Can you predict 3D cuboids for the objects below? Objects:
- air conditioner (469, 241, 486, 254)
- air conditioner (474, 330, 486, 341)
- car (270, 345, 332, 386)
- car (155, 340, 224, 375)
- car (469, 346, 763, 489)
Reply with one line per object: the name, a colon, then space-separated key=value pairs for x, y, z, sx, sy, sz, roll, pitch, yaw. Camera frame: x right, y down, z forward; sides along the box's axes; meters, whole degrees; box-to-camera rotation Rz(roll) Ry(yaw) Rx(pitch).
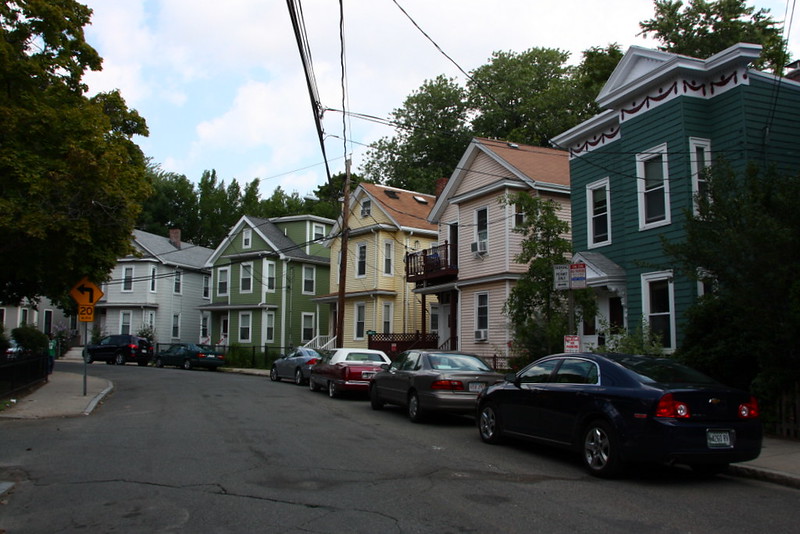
air conditioner: x=3.439 y=-0.868 z=30.947 sx=0.438 sy=0.585 sz=0.807 roll=6 pitch=-7 yaw=-28
air conditioner: x=3.516 y=2.992 z=30.547 sx=0.403 sy=0.510 sz=0.722 roll=3 pitch=-7 yaw=-20
car: x=-4.176 y=4.136 z=29.487 sx=1.257 sy=0.920 sz=2.729 roll=4 pitch=-6 yaw=-37
car: x=-11.804 y=5.020 z=39.418 sx=4.163 sy=1.422 sz=1.301 roll=-5 pitch=-12 yaw=35
car: x=3.913 y=2.855 z=14.309 sx=2.295 sy=1.614 sz=4.995 roll=7 pitch=-8 yaw=-30
